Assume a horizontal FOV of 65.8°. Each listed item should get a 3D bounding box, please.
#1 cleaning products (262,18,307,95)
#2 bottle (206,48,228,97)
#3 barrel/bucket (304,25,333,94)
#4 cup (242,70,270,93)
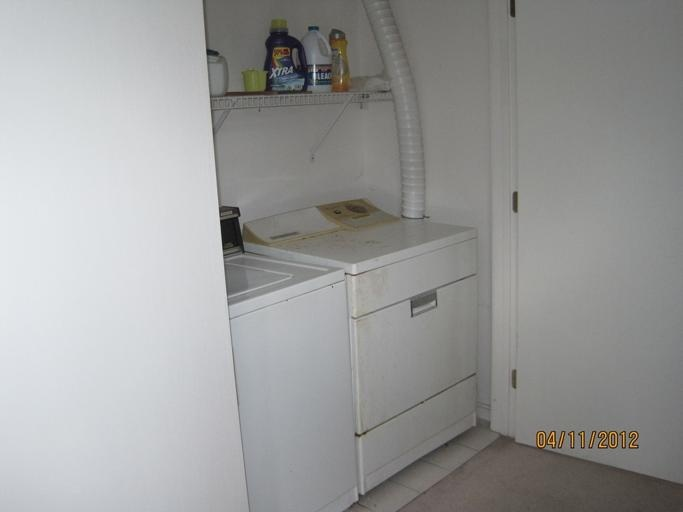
[{"bbox_3d":[-0.242,-0.876,2.304,0.188,0.311,0.149,-4,12,-7],"label":"cleaning products"},{"bbox_3d":[-0.466,-0.698,1.996,0.066,0.174,0.131,-4,12,-10],"label":"bottle"},{"bbox_3d":[-0.111,-0.901,2.394,0.130,0.299,0.154,-2,12,0],"label":"barrel/bucket"},{"bbox_3d":[-0.363,-0.739,2.238,0.117,0.087,0.098,0,5,-12],"label":"cup"}]
